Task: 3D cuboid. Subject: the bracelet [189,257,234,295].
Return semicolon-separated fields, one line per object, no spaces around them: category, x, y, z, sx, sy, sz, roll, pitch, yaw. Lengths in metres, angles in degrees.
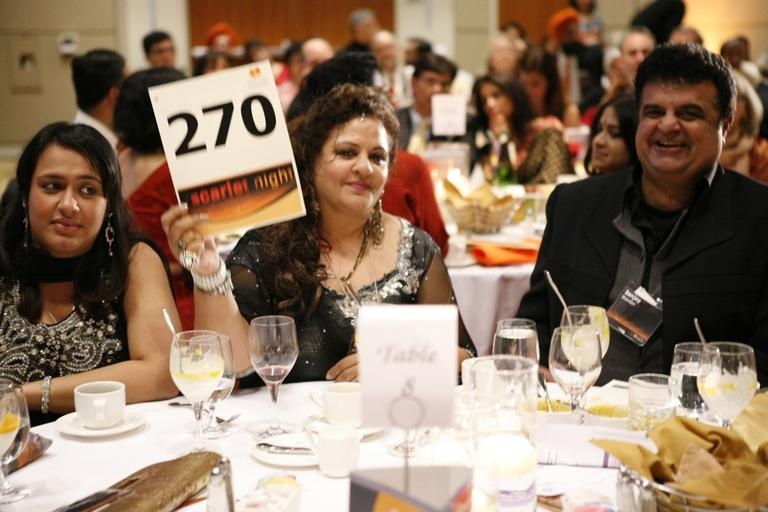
bracelet;-0.601;0.060;2.242;0.111;0.090;0.127;-6;10;-11

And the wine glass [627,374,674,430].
wine glass;0.726;0.396;1.793;0.126;0.152;0.130;-1;-1;-18

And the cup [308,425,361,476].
cup;-0.124;0.522;1.717;0.148;0.105;0.089;2;2;37

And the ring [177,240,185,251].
ring;-0.684;-0.035;2.183;0.023;0.034;0.010;1;16;19

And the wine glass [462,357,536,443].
wine glass;0.271;0.319;1.534;0.179;0.214;0.191;-1;1;-1

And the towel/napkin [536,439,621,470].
towel/napkin;0.526;0.528;1.718;0.127;0.042;0.134;0;-3;24

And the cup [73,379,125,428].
cup;-0.869;0.436;1.990;0.119;0.113;0.157;1;12;-7
